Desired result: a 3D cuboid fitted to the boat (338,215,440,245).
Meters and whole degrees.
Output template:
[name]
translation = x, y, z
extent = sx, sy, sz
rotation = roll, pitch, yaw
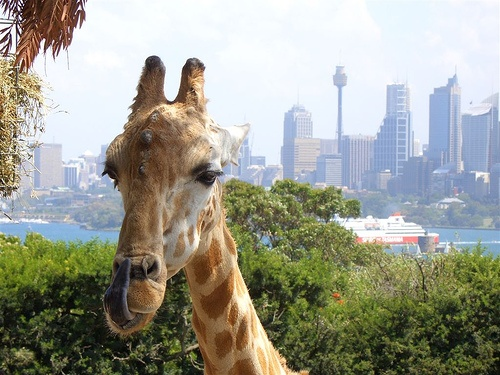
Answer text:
[boat]
translation = 27.314, 8.414, 252.721
extent = 13.855, 5.548, 3.449
rotation = 3, -2, -12
